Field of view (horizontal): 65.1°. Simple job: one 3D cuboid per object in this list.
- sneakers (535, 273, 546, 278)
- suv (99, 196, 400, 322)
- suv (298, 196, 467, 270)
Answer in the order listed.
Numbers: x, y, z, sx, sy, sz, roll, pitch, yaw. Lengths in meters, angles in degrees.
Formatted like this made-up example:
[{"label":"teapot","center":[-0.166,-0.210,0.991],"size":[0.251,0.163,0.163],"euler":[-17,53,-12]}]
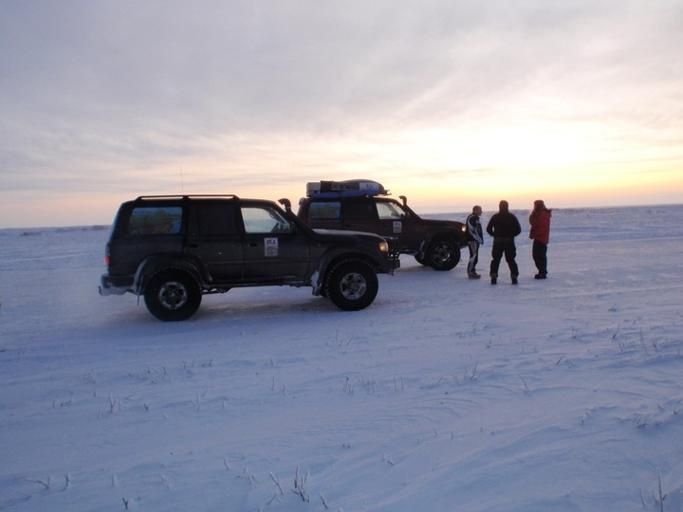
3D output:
[{"label":"sneakers","center":[4.816,0.470,12.939],"size":[0.218,0.211,0.131],"euler":[-1,8,1]},{"label":"suv","center":[-1.661,-0.145,9.516],"size":[5.119,2.252,2.163],"euler":[-2,3,-12]},{"label":"suv","center":[1.035,-0.654,15.112],"size":[4.480,2.129,1.902],"euler":[-2,4,-11]}]
